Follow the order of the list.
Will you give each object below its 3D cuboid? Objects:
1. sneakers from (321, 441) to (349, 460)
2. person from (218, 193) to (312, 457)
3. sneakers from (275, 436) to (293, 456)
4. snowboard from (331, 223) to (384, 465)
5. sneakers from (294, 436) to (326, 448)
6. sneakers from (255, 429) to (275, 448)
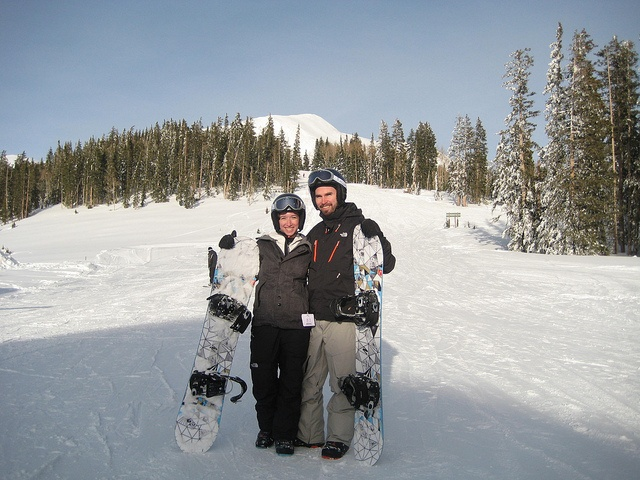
[{"bbox_3d":[0.227,3.493,8.914,0.521,0.274,0.186,3,2,-18],"label":"sneakers"},{"bbox_3d":[-0.677,1.378,9.186,1.036,4.281,1.035,-1,5,-8],"label":"person"},{"bbox_3d":[-0.592,3.452,8.931,0.305,0.234,0.133,0,6,-2],"label":"sneakers"},{"bbox_3d":[0.758,0.954,9.119,0.573,0.408,4.996,-1,20,8],"label":"snowboard"},{"bbox_3d":[-0.172,3.451,9.048,0.501,0.272,0.184,0,10,2],"label":"sneakers"},{"bbox_3d":[-0.941,3.370,9.059,0.317,0.260,0.112,-1,5,-6],"label":"sneakers"}]
